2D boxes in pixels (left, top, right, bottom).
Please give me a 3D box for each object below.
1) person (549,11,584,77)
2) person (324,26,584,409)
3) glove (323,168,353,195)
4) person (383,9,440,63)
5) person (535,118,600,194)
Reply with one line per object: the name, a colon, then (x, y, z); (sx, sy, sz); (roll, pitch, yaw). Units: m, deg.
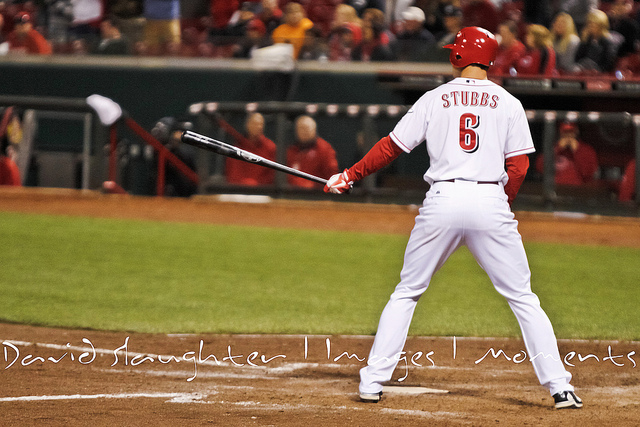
person: (2.954, -2.006, 15.087); (0.443, 0.347, 1.002); (3, 33, 4)
person: (1.169, 0.239, 10.142); (1.689, 2.638, 0.399); (-1, 9, 5)
glove: (0.193, -0.225, 10.411); (0.212, 0.203, 0.095); (-39, -29, 10)
person: (1.151, -2.128, 15.140); (0.768, 0.386, 0.703); (2, 1, 5)
person: (2.784, -0.577, 14.004); (0.745, 0.826, 0.274); (0, -16, -7)
